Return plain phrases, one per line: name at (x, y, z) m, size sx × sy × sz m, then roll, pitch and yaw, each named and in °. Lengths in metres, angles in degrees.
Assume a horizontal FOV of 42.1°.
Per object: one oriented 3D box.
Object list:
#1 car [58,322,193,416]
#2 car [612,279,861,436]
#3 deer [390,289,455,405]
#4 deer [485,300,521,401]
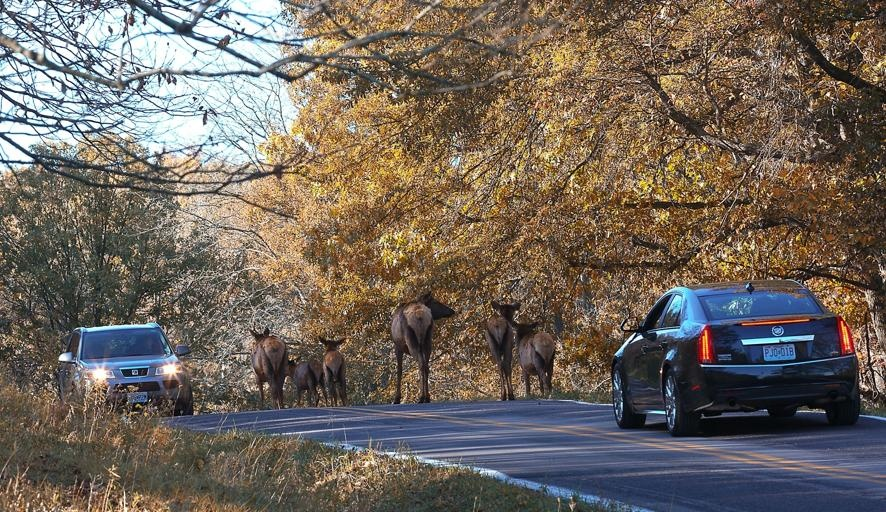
car at (-9.250, 3.722, 33.964) m, size 3.123 × 3.178 × 7.146 m, roll 0°, pitch -3°, yaw -26°
car at (6.417, 2.208, 25.807) m, size 2.753 × 3.064 × 7.168 m, roll -1°, pitch -5°, yaw 4°
deer at (-0.785, 3.326, 39.817) m, size 1.919 × 4.235 × 2.629 m, roll 0°, pitch -2°, yaw -16°
deer at (2.242, 3.234, 39.811) m, size 1.241 × 3.361 × 1.669 m, roll 0°, pitch -1°, yaw -6°
